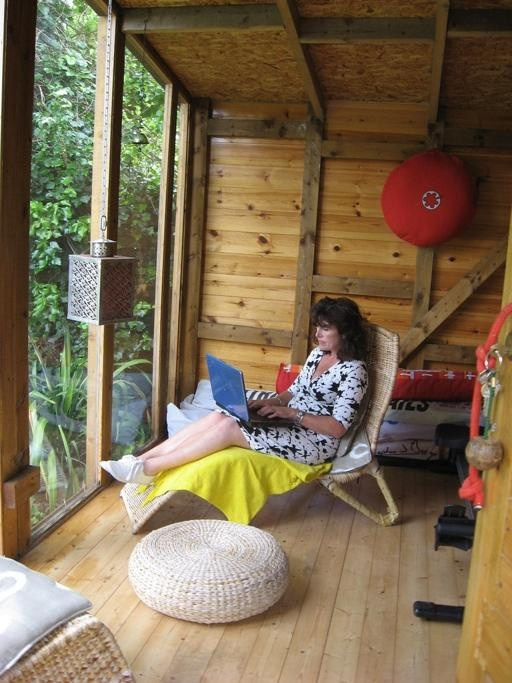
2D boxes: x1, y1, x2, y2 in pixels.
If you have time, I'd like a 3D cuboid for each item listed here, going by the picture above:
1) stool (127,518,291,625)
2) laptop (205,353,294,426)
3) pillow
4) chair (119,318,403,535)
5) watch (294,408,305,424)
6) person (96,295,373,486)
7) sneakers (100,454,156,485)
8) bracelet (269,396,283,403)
[{"bbox_3d":[-0.161,0.794,1.988,0.514,0.178,0.475,9,9,34],"label":"stool"},{"bbox_3d":[0.016,0.209,2.547,0.296,0.307,0.387,-7,6,-17],"label":"laptop"},{"bbox_3d":[0.999,-0.879,3.223,0.432,0.197,0.442,-14,-41,40],"label":"pillow"},{"bbox_3d":[0.253,0.446,3.010,1.254,0.854,0.512,-3,-12,30],"label":"chair"},{"bbox_3d":[0.196,0.345,2.604,0.036,0.054,0.059,30,29,21],"label":"watch"},{"bbox_3d":[-0.082,0.249,2.639,1.263,0.669,0.507,-11,19,-10],"label":"person"},{"bbox_3d":[-0.507,0.522,2.373,0.237,0.092,0.096,13,34,-55],"label":"sneakers"},{"bbox_3d":[0.105,0.292,2.879,0.032,0.029,0.038,-1,23,-15],"label":"bracelet"}]
